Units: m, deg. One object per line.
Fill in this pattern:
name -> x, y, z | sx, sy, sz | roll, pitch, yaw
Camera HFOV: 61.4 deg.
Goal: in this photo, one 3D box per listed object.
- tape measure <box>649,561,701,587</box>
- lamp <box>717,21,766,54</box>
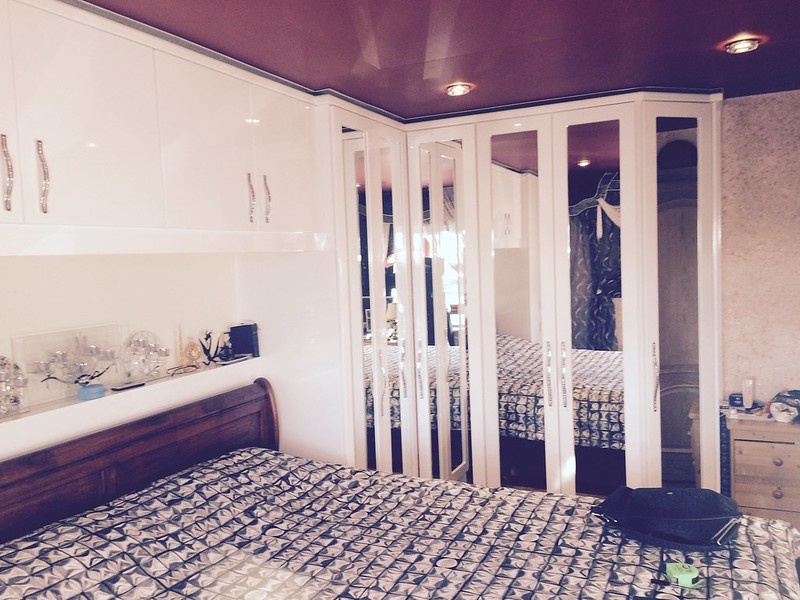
tape measure -> 1.051, 1.039, 2.553 | 0.141, 0.028, 0.087 | -2, 1, -4
lamp -> 1.587, -1.194, 3.123 | 0.203, 0.044, 0.251 | -1, 7, 10
